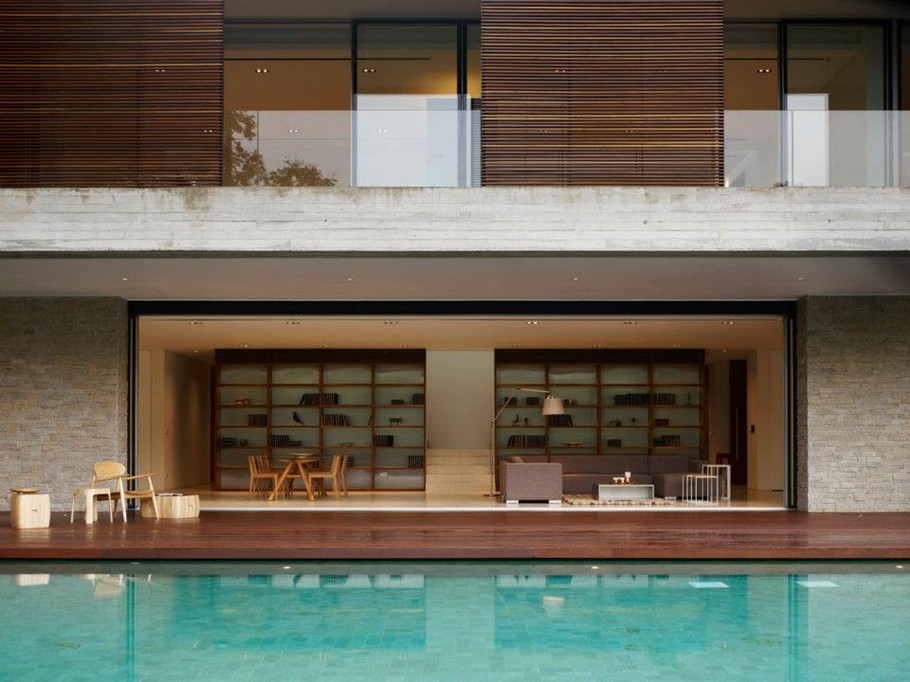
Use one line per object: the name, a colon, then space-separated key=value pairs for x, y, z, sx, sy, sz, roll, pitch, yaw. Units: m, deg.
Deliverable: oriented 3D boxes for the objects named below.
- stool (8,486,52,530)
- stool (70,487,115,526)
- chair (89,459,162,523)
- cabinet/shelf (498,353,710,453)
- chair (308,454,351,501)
stool: x=-5.413 y=2.147 z=16.663 sx=0.488 sy=0.513 sz=0.504 roll=1 pitch=0 yaw=-32
stool: x=-4.798 y=2.201 z=17.436 sx=0.602 sy=0.511 sz=0.595 roll=2 pitch=-4 yaw=-35
chair: x=-4.591 y=2.110 z=18.097 sx=0.939 sy=0.896 sz=0.911 roll=-7 pitch=-9 yaw=37
cabinet/shelf: x=2.659 y=1.121 z=23.131 sx=3.651 sy=1.807 sz=0.537 roll=1 pitch=9 yaw=1
chair: x=-2.055 y=2.277 z=21.658 sx=0.734 sy=0.981 sz=0.693 roll=2 pitch=-7 yaw=-6
